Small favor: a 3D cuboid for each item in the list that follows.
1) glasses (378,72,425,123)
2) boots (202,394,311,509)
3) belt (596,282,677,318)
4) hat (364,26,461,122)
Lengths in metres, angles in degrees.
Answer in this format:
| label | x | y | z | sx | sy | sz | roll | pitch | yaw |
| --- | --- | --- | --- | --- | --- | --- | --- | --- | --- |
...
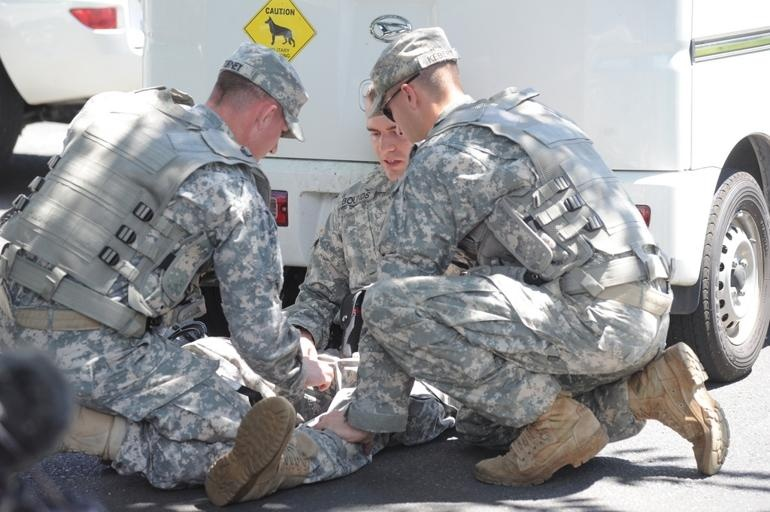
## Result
| label | x | y | z | sx | sy | sz | roll | pitch | yaw |
| --- | --- | --- | --- | --- | --- | --- | --- | --- | --- |
| glasses | 0.058 | -0.729 | 4.134 | 0.180 | 0.051 | 0.179 | -54 | -8 | 16 |
| boots | -0.523 | 0.782 | 3.488 | 0.367 | 0.142 | 0.257 | -47 | -30 | 23 |
| belt | 1.064 | 0.179 | 3.740 | 0.215 | 0.090 | 0.165 | 17 | -1 | 9 |
| hat | 0.093 | -0.842 | 4.168 | 0.404 | 0.220 | 0.299 | -24 | -2 | 33 |
